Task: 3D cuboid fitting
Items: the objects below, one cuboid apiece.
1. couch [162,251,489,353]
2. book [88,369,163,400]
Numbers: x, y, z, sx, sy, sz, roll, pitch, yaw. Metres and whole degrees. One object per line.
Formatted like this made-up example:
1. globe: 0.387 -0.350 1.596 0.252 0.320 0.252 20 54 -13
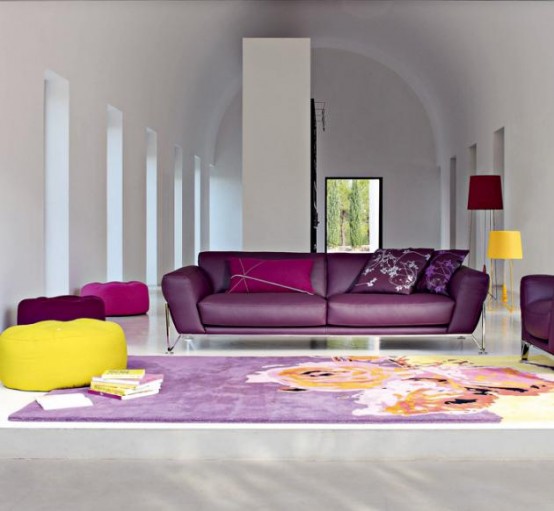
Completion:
1. couch: 0.335 0.444 4.645 2.524 0.825 0.906 0 10 -1
2. book: -0.849 0.739 2.975 0.400 0.134 0.227 -3 10 -16
